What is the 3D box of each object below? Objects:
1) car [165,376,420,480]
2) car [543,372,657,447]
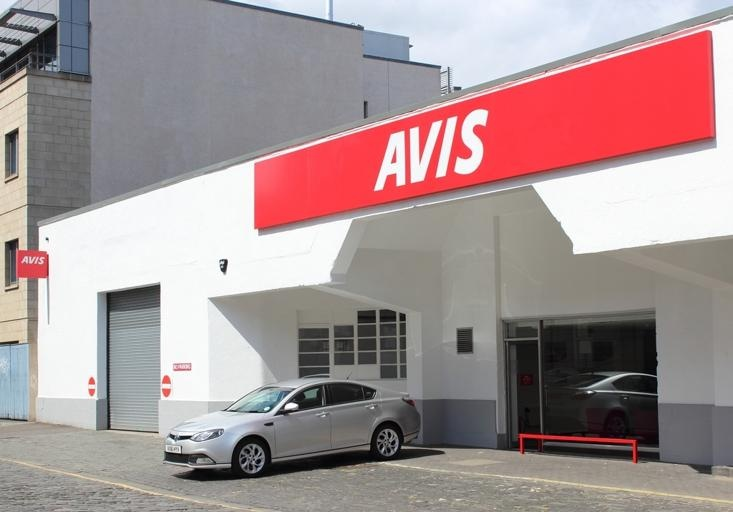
[{"bbox_3d":[-1.362,3.654,14.817,5.194,1.990,1.004,8,-15,-29],"label":"car"},{"bbox_3d":[5.556,3.386,15.945,2.020,0.930,1.176,3,-7,-32],"label":"car"}]
